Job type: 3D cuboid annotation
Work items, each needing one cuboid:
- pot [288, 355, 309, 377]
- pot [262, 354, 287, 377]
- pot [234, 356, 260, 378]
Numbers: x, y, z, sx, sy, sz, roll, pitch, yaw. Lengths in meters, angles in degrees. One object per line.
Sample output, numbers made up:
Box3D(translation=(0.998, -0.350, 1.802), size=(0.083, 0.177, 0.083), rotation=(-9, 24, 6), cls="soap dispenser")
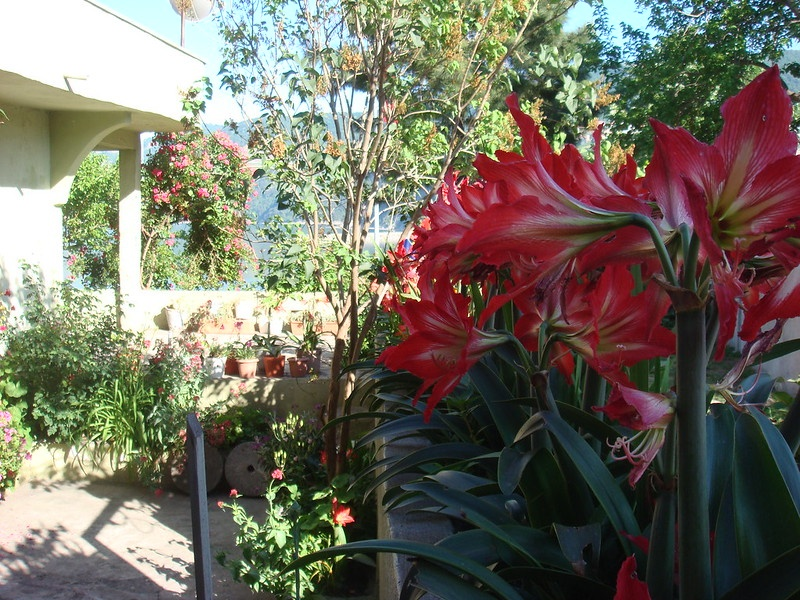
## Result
Box3D(translation=(-0.764, 0.496, 4.817), size=(0.141, 0.116, 0.147), rotation=(0, -5, 0), cls="pot")
Box3D(translation=(-0.997, 0.520, 5.072), size=(0.151, 0.127, 0.159), rotation=(-1, -10, 0), cls="pot")
Box3D(translation=(-1.222, 0.536, 5.143), size=(0.144, 0.122, 0.152), rotation=(1, -7, 0), cls="pot")
